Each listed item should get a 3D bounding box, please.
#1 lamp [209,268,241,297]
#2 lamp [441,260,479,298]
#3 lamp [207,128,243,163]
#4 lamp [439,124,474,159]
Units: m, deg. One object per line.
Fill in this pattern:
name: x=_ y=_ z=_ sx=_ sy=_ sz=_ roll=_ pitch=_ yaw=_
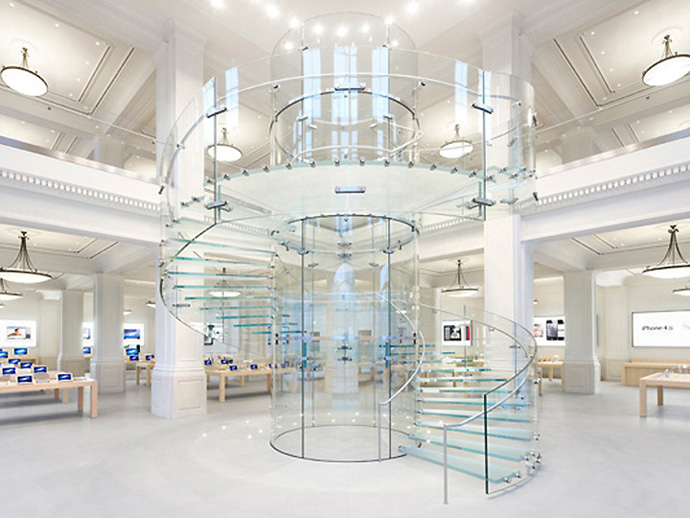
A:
lamp: x=-2.305 y=0.451 z=9.635 sx=0.523 sy=0.580 sz=0.531 roll=4 pitch=-5 yaw=-40
lamp: x=4.423 y=0.771 z=18.923 sx=1.460 sy=1.366 sz=1.458 roll=-1 pitch=-3 yaw=5
lamp: x=-1.722 y=-1.596 z=7.177 sx=0.438 sy=0.525 sz=0.346 roll=1 pitch=-2 yaw=-25
lamp: x=1.545 y=-1.682 z=6.947 sx=0.367 sy=0.359 sz=0.372 roll=-1 pitch=3 yaw=23
